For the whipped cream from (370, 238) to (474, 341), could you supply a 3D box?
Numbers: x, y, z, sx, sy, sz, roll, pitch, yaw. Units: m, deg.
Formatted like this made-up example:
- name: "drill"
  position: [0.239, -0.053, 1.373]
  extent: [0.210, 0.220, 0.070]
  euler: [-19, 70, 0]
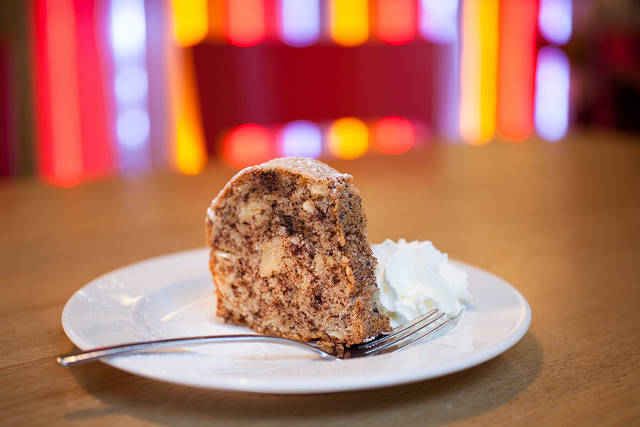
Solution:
- name: "whipped cream"
  position: [0.373, 0.258, 2.456]
  extent: [0.344, 0.352, 0.510]
  euler: [-5, 12, -12]

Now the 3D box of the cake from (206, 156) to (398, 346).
- name: "cake"
  position: [-0.074, 0.172, 2.459]
  extent: [0.661, 0.638, 0.256]
  euler: [7, 16, 24]
